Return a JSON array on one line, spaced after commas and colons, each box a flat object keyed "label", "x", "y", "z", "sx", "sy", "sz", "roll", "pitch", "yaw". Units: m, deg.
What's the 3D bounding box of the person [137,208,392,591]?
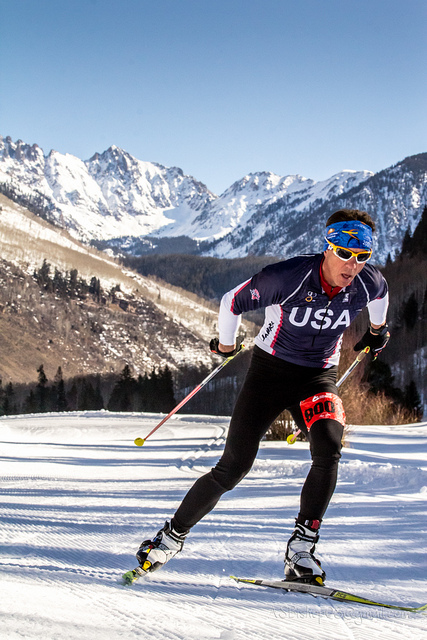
[{"label": "person", "x": 0.365, "y": 0.406, "z": 3.975, "sx": 1.108, "sy": 2.037, "sz": 0.956, "roll": 3, "pitch": -7, "yaw": 20}]

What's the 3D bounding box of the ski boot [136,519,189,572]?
[{"label": "ski boot", "x": -0.277, "y": 1.209, "z": 3.623, "sx": 0.194, "sy": 0.228, "sz": 0.486, "roll": 3, "pitch": 0, "yaw": 23}]
